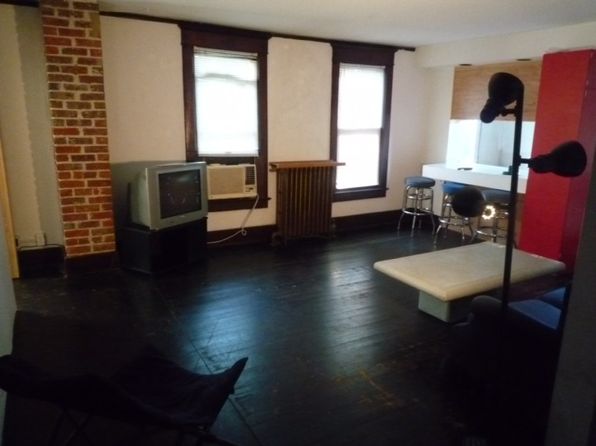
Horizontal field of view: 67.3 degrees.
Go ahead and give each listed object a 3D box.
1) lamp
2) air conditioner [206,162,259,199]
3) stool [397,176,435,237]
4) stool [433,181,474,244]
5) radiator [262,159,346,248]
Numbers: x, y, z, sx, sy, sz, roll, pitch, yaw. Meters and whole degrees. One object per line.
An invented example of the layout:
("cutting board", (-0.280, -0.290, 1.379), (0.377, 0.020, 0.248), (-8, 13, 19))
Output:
("lamp", (1.417, -0.103, 2.830), (0.586, 1.606, 0.345), (12, 27, 32))
("air conditioner", (-0.861, -0.577, 5.703), (0.660, 0.473, 0.330), (-6, 22, -21))
("stool", (1.729, -0.270, 6.419), (0.466, 0.735, 0.437), (-5, 13, -31))
("stool", (2.097, -0.155, 6.279), (0.416, 0.553, 0.402), (12, -5, -31))
("radiator", (0.033, -0.257, 5.944), (1.066, 1.039, 0.318), (-6, 16, -26))
